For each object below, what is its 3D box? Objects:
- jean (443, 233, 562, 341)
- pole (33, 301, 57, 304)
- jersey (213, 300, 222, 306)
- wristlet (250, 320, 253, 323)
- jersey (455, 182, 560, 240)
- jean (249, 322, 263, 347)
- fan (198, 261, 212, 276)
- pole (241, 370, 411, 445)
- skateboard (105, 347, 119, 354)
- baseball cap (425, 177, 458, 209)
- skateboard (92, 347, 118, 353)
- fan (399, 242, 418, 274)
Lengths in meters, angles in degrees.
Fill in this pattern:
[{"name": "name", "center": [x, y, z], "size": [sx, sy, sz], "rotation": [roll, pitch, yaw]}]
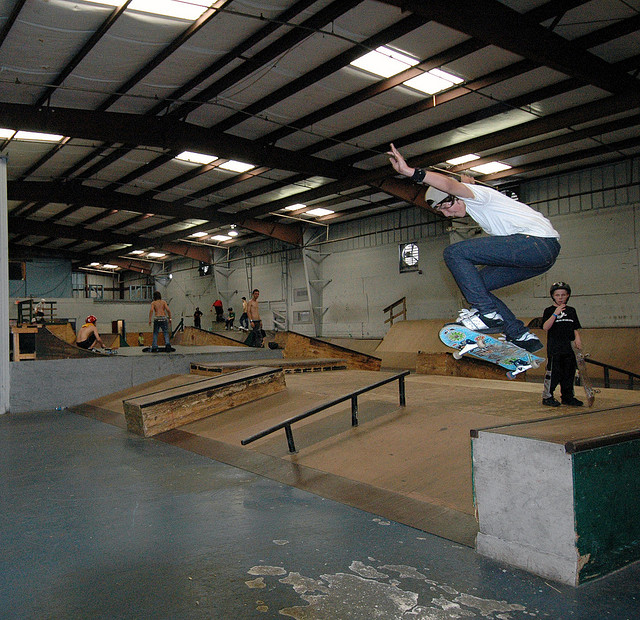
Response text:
[{"name": "jean", "center": [1.766, -0.274, 5.287], "size": [1.432, 0.896, 1.023], "rotation": [-2, -1, -11]}, {"name": "pole", "center": [-14.923, -0.417, 28.672], "size": [1.282, 0.136, 0.081], "rotation": [1, 8, 27]}, {"name": "jersey", "center": [-5.573, -0.333, 28.381], "size": [0.379, 0.325, 0.434], "rotation": [-9, 7, -15]}, {"name": "wristlet", "center": [-2.055, 0.313, 15.564], "size": [0.083, 0.084, 0.033], "rotation": [-1, 3, 38]}, {"name": "jersey", "center": [1.746, -0.856, 4.856], "size": [0.772, 0.243, 0.673], "rotation": [20, -10, 4]}, {"name": "jean", "center": [-1.932, 0.709, 15.493], "size": [0.380, 0.744, 0.485], "rotation": [-11, 8, -12]}, {"name": "fan", "center": [-6.724, -2.464, 30.578], "size": [0.334, 0.815, 1.242], "rotation": [-15, 11, -37]}, {"name": "pole", "center": [0.015, 1.188, 6.378], "size": [3.059, 0.114, 0.187], "rotation": [-14, 22, -33]}, {"name": "skateboard", "center": [-4.875, 0.940, 12.221], "size": [0.213, 0.087, 0.254], "rotation": [1, -2, 20]}, {"name": "baseball cap", "center": [1.077, -1.059, 4.836], "size": [0.207, 0.205, 0.416], "rotation": [-6, 6, 8]}, {"name": "skateboard", "center": [-5.049, 0.938, 12.293], "size": [0.446, 0.077, 0.399], "rotation": [2, -3, -5]}, {"name": "fan", "center": [3.541, -2.095, 21.008], "size": [0.345, 1.191, 0.900], "rotation": [-16, 11, -39]}]
